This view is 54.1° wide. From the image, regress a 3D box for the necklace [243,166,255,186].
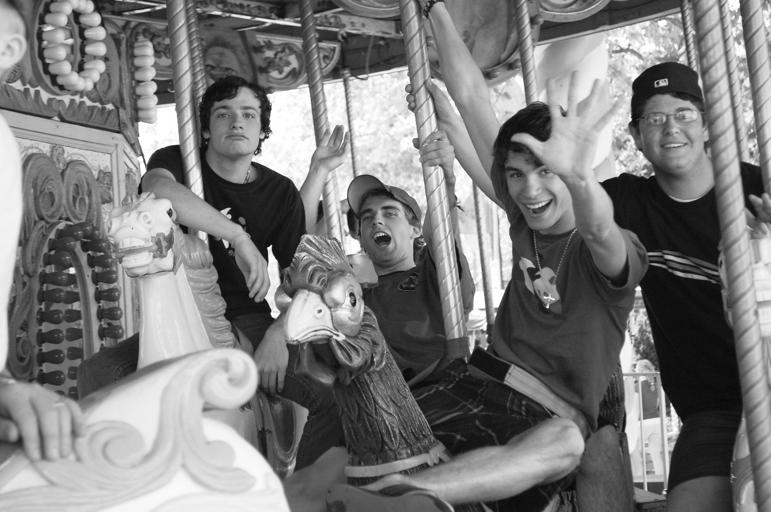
[{"bbox_3d":[-0.786,-0.460,4.381,0.061,0.094,0.022,8,-32,-12],"label":"necklace"}]
